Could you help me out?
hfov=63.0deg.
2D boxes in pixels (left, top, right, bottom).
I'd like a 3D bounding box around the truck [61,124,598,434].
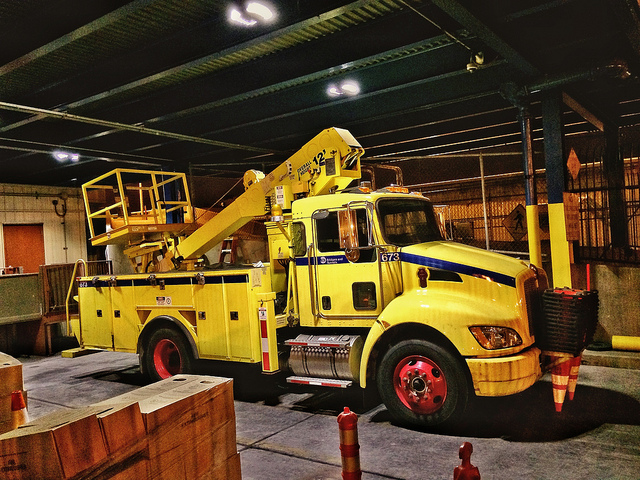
[{"bbox_3d":[-0.114,0.444,8.796,8.340,4.610,1.502,-2,4,27],"label":"truck"}]
